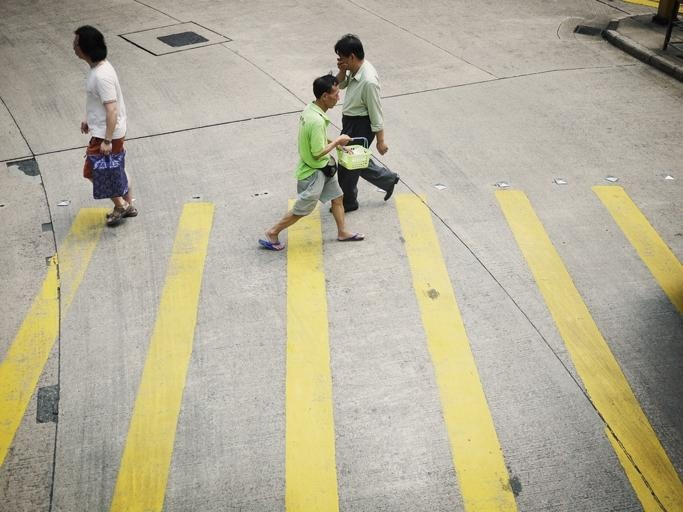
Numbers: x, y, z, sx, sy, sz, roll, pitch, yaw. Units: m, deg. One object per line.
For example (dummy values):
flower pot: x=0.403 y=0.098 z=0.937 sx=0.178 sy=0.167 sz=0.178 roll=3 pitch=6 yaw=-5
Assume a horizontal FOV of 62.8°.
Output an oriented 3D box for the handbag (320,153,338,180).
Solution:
handbag: x=-0.164 y=-1.084 z=6.668 sx=0.245 sy=0.229 sz=0.187 roll=-3 pitch=44 yaw=-6

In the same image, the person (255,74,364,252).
person: x=-0.378 y=-1.121 z=6.685 sx=1.170 sy=2.020 sz=0.568 roll=-7 pitch=28 yaw=-6

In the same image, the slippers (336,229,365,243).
slippers: x=0.109 y=-0.262 z=7.015 sx=0.293 sy=0.111 sz=0.147 roll=-1 pitch=40 yaw=1

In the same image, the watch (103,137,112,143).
watch: x=-2.860 y=-1.417 z=6.828 sx=0.085 sy=0.065 sz=0.088 roll=-19 pitch=31 yaw=-27

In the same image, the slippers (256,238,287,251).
slippers: x=-0.873 y=-0.123 z=6.900 sx=0.267 sy=0.076 sz=0.138 roll=18 pitch=19 yaw=-24

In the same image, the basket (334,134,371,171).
basket: x=0.170 y=-1.362 z=7.111 sx=0.377 sy=0.480 sz=0.504 roll=-9 pitch=29 yaw=-19
